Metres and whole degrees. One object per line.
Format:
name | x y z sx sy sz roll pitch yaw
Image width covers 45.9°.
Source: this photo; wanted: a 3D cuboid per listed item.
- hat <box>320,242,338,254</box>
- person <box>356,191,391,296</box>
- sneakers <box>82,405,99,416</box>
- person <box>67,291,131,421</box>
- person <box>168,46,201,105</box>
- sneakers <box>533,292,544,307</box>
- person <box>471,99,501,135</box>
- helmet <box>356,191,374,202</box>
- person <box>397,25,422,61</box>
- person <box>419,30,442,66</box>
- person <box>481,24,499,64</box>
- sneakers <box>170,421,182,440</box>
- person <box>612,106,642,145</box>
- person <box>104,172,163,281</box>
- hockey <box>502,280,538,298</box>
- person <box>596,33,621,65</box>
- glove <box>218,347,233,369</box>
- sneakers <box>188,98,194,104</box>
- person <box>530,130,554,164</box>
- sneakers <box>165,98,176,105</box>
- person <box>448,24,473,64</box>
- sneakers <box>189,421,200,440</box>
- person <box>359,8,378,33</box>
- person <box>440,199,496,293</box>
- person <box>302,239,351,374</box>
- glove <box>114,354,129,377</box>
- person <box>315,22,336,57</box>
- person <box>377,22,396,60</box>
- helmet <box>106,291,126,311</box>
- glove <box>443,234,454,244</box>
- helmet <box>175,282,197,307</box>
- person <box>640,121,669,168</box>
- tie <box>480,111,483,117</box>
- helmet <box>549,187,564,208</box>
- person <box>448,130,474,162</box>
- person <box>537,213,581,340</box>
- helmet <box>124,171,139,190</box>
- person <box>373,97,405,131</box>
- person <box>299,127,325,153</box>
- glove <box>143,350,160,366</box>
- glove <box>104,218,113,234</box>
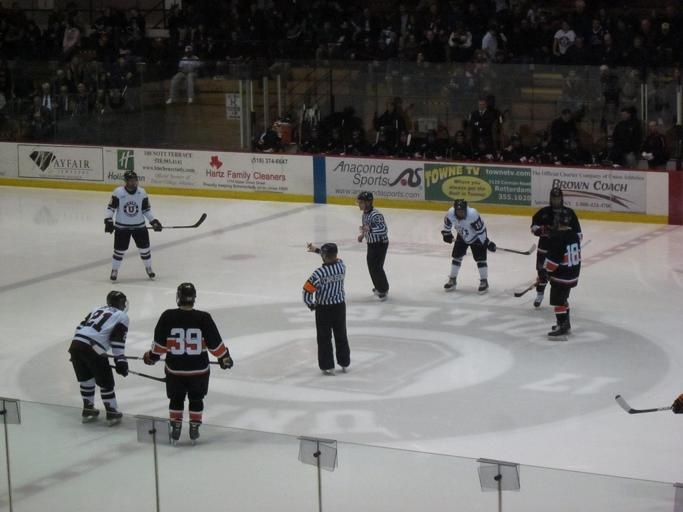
hat | -0.155 -0.076 9.996 0.148 0.171 0.183 -9 21 -27
person | 0.530 -0.195 13.248 0.477 1.756 0.928 0 13 4
sneakers | -2.129 1.328 6.852 0.125 0.070 0.138 10 17 41
person | -2.633 1.146 8.836 0.628 1.415 0.701 -5 13 -17
person | -4.300 -4.783 22.048 0.963 1.165 0.395 -3 13 -7
sneakers | 3.136 0.682 12.811 0.098 0.151 0.329 10 25 24
person | 3.425 -3.342 19.086 0.780 0.903 0.279 1 13 9
helmet | 0.387 -0.958 12.912 0.197 0.118 0.289 2 13 13
person | 1.751 -5.495 21.148 0.618 0.817 0.841 2 19 10
person | 2.330 -5.406 20.644 0.632 0.810 0.748 0 13 6
person | 3.737 -5.349 20.211 0.416 0.882 0.274 1 13 9
sneakers | -1.311 1.382 6.387 0.090 0.156 0.057 1 6 -31
person | 6.287 -2.884 17.723 0.613 0.833 0.218 3 14 17
person | -3.805 -0.589 14.655 0.935 1.966 0.800 -5 13 -15
hockey | 2.999 0.557 13.560 0.509 0.072 0.089 -25 -17 7
person | 6.327 -4.904 19.008 0.521 0.715 0.313 2 13 16
glove | -1.171 1.058 8.358 0.161 0.217 0.072 -6 24 34
sneakers | -4.129 -4.274 22.090 0.136 0.127 0.240 -2 -1 -20
person | 4.628 -2.522 18.581 0.519 0.697 0.271 0 1 38
sneakers | -4.730 -4.294 22.273 0.303 0.124 0.100 -3 23 -13
person | 3.070 -5.505 20.740 0.614 0.942 0.396 0 13 7
sneakers | -1.175 1.383 6.497 0.088 0.155 0.161 -2 13 -2
person | 0.739 -6.480 22.242 0.458 0.631 0.936 -2 12 -5
person | 2.147 -0.231 13.622 0.842 1.609 1.066 1 13 9
person | -0.179 0.676 10.240 0.536 1.738 0.781 -1 13 3
glove | -2.387 1.183 8.736 0.185 0.229 0.104 -5 25 1
person | -0.407 -6.028 22.494 0.621 0.177 1.501 -2 -28 -1
person | 1.273 -6.018 22.081 0.538 0.431 1.408 7 36 -6
helmet | -2.516 0.505 9.011 0.189 0.243 0.244 5 12 22
glove | 1.761 -0.287 13.293 0.117 0.149 0.145 -3 1 4
helmet | -1.559 0.391 8.257 0.208 0.264 0.267 0 12 -10
person | 6.867 -2.440 17.641 0.565 1.033 0.271 2 13 13
tie | 3.303 -3.370 19.023 0.035 0.098 0.070 7 1 -27
helmet | 3.124 -0.872 12.023 0.232 0.321 0.327 -1 7 10
person | 2.882 -2.668 19.408 0.563 0.695 0.345 3 13 16
person | 3.047 0.317 11.173 0.466 1.742 0.321 0 13 4
helmet | -3.768 -1.362 14.417 0.194 0.355 0.585 -4 13 -11
person | 1.208 -3.555 19.998 0.662 0.923 0.314 12 14 17
person | -0.785 -3.038 21.041 0.727 0.637 0.168 10 17 41
glove | -1.963 1.050 8.330 0.167 0.093 0.217 1 16 -23
glove | -4.110 -0.557 14.288 0.123 0.280 0.269 -3 13 -10
